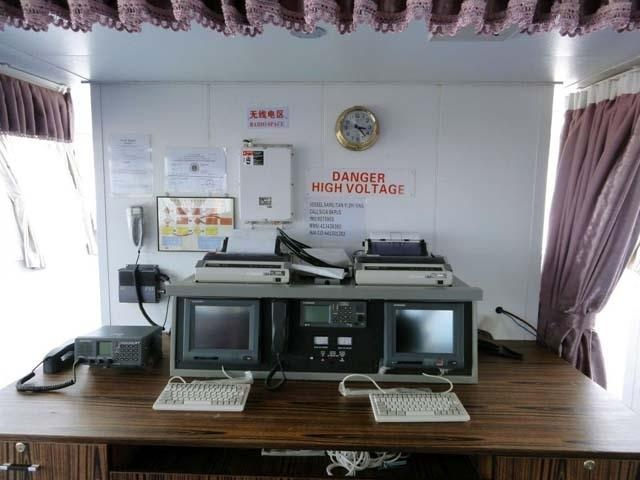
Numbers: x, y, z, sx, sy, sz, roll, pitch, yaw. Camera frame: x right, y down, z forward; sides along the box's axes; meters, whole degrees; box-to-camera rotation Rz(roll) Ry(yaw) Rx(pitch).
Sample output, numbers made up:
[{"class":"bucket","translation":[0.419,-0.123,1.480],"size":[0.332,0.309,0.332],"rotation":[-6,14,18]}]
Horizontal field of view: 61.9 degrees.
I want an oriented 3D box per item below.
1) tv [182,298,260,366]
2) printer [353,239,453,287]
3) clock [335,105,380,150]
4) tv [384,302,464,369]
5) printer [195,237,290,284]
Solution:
[{"class":"tv","translation":[-0.527,0.500,2.891],"size":[0.355,0.301,0.130],"rotation":[0,-4,2]},{"class":"printer","translation":[0.466,0.120,3.089],"size":[0.532,0.231,0.344],"rotation":[0,6,3]},{"class":"clock","translation":[0.241,-0.735,3.416],"size":[0.277,0.277,0.091],"rotation":[1,3,1]},{"class":"tv","translation":[0.519,0.500,2.954],"size":[0.586,0.483,0.316],"rotation":[0,-4,3]},{"class":"printer","translation":[-0.433,0.115,3.148],"size":[0.526,0.301,0.391],"rotation":[1,-5,4]}]
